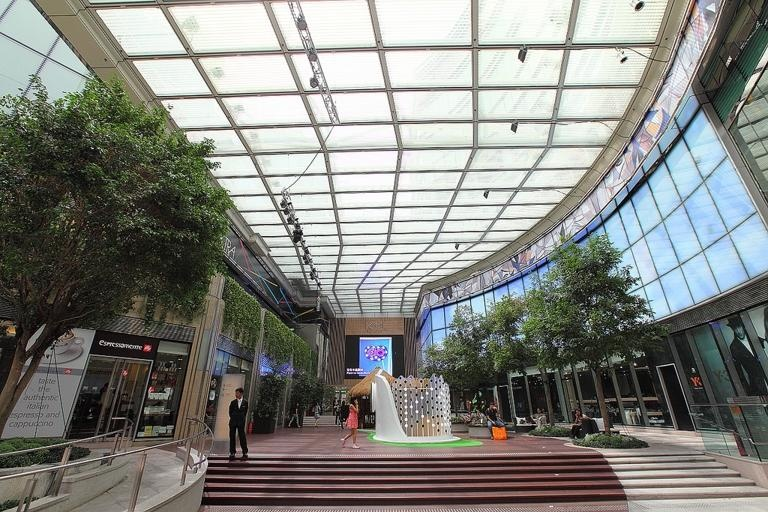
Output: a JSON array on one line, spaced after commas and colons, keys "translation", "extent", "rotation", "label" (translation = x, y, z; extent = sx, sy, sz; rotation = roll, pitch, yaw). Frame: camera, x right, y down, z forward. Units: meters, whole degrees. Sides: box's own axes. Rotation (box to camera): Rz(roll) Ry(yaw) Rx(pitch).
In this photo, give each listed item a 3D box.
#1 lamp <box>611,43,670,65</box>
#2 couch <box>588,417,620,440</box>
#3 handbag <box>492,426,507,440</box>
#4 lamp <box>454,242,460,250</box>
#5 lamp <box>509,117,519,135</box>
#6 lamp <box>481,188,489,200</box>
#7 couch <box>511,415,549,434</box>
[{"translation": [10.458, -8.291, 14.422], "extent": [2.165, 0.357, 0.718], "rotation": [-3, 9, -20], "label": "lamp"}, {"translation": [10.890, 8.459, 17.778], "extent": [0.831, 0.598, 7.006], "rotation": [-14, -27, 25], "label": "couch"}, {"translation": [6.100, 9.220, 18.614], "extent": [0.824, 0.727, 0.664], "rotation": [-3, -58, 5], "label": "handbag"}, {"translation": [5.898, -0.903, 28.304], "extent": [0.464, 0.434, 0.500], "rotation": [0, -13, -6], "label": "lamp"}, {"translation": [6.290, -6.364, 17.144], "extent": [0.491, 0.869, 0.458], "rotation": [2, -64, 17], "label": "lamp"}, {"translation": [6.293, -3.871, 21.736], "extent": [0.488, 0.412, 0.783], "rotation": [0, 9, 11], "label": "lamp"}, {"translation": [9.555, 10.891, 23.195], "extent": [1.983, 1.027, 4.653], "rotation": [-9, -25, 17], "label": "couch"}]
